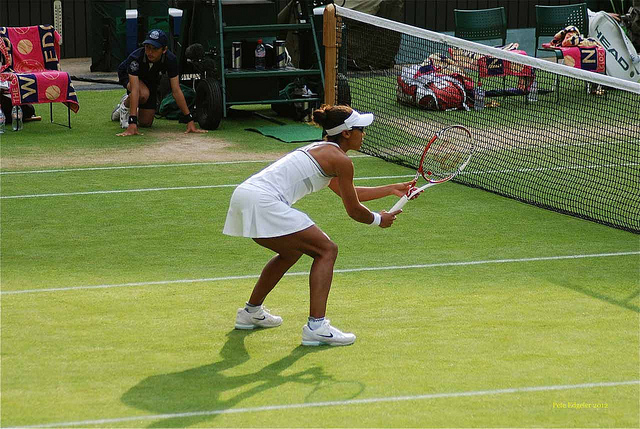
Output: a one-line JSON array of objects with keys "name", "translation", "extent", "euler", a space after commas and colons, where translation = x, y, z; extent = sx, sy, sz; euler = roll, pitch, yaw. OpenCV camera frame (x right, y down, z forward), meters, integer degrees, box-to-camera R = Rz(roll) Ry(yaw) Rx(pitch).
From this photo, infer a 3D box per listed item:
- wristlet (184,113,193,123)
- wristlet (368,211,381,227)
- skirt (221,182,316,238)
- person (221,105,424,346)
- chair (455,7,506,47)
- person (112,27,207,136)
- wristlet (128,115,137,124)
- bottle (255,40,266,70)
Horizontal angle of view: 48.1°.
[{"name": "wristlet", "translation": [-2.508, -1.853, 13.853], "extent": [0.141, 0.151, 0.183], "euler": [-2, 13, -12]}, {"name": "wristlet", "translation": [0.515, 0.041, 6.412], "extent": [0.110, 0.095, 0.100], "euler": [6, -32, -28]}, {"name": "skirt", "translation": [-0.306, -0.056, 6.225], "extent": [0.907, 0.421, 0.558], "euler": [6, 20, 25]}, {"name": "person", "translation": [-0.093, 0.098, 6.358], "extent": [1.477, 2.072, 0.659], "euler": [-1, 13, -7]}, {"name": "chair", "translation": [4.028, -4.777, 18.215], "extent": [0.962, 1.335, 0.989], "euler": [2, 25, 6]}, {"name": "person", "translation": [-3.045, -2.495, 13.726], "extent": [1.554, 1.919, 1.069], "euler": [-1, 13, -9]}, {"name": "wristlet", "translation": [-3.504, -1.769, 13.484], "extent": [0.179, 0.108, 0.162], "euler": [1, 3, 0]}, {"name": "bottle", "translation": [-1.160, -3.141, 14.185], "extent": [0.210, 0.570, 0.343], "euler": [0, 13, -4]}]
